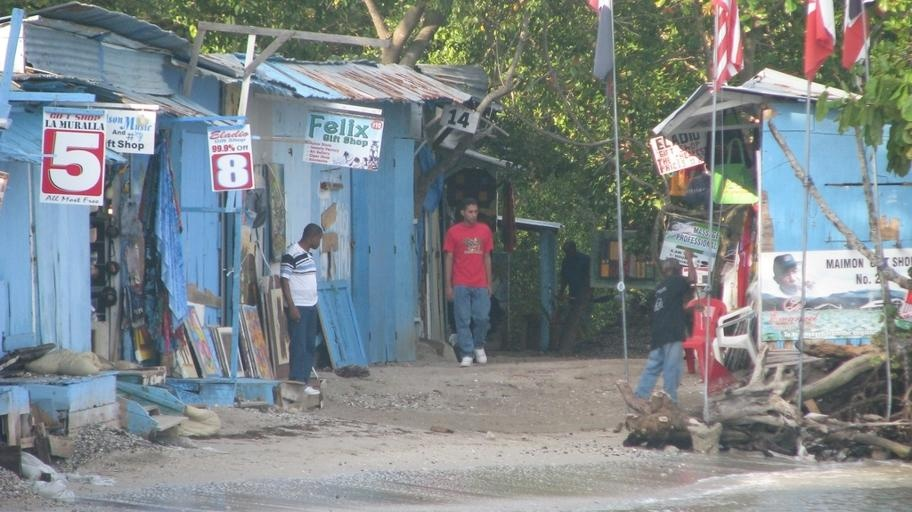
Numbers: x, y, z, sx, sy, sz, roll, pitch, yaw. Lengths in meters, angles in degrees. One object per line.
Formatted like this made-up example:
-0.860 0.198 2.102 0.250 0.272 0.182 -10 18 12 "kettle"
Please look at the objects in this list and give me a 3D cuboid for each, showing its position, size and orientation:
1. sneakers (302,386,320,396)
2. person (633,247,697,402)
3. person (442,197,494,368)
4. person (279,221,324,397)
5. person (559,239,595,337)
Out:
-2.338 2.174 28.343 0.216 0.078 0.134 4 8 23 "sneakers"
3.290 1.181 27.869 0.825 2.235 0.569 -1 -2 6 "person"
0.277 0.509 31.965 0.761 2.976 0.958 -2 -2 35 "person"
-2.547 0.866 28.722 0.646 2.746 0.754 -1 -2 7 "person"
2.619 0.711 38.436 0.648 2.071 0.782 -1 -2 5 "person"
